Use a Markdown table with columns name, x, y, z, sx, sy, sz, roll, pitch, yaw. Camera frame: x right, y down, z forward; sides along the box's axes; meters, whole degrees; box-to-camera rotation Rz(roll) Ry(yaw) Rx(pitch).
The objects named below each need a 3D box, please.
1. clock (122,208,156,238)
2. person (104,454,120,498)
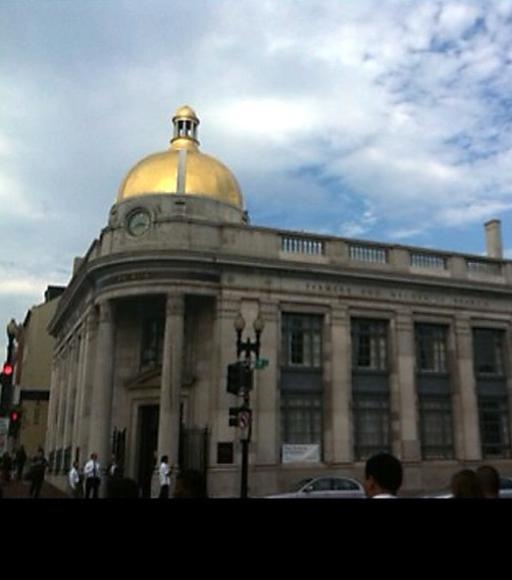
| name | x | y | z | sx | sy | sz | roll | pitch | yaw |
| --- | --- | --- | --- | --- | --- | --- | --- | --- | --- |
| clock | -5.480 | -3.290 | 27.179 | 1.178 | 1.453 | 1.292 | -16 | -12 | 16 |
| person | -6.545 | 8.421 | 26.216 | 0.717 | 1.670 | 2.569 | 4 | -14 | -12 |
